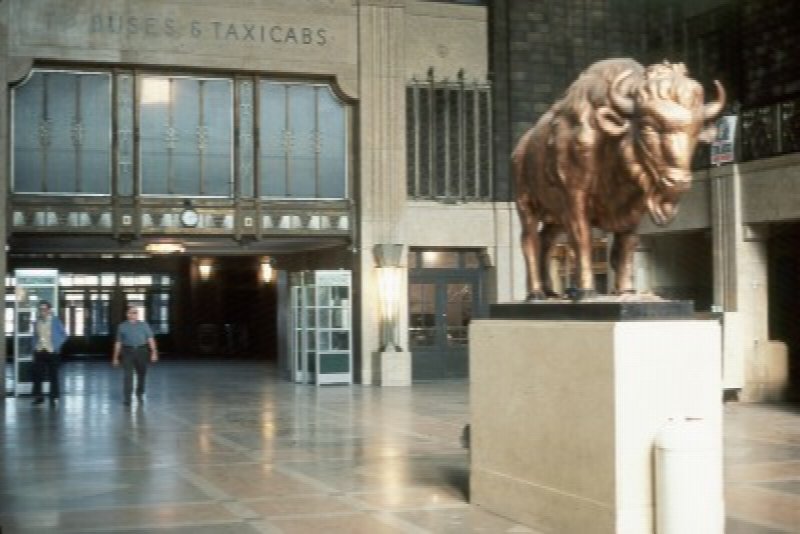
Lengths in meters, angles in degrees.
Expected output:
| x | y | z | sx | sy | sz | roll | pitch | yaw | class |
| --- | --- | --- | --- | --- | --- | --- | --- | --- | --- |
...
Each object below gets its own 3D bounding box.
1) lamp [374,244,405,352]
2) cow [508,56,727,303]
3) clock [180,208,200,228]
| x | y | z | sx | sy | sz | roll | pitch | yaw | class |
| --- | --- | --- | --- | --- | --- | --- | --- | --- | --- |
| -0.293 | 0.837 | 27.823 | 0.719 | 2.767 | 0.497 | -1 | 1 | -3 | lamp |
| 2.808 | -1.131 | 15.154 | 1.657 | 3.332 | 4.248 | 1 | -2 | -22 | cow |
| -5.377 | -1.214 | 26.971 | 0.465 | 0.514 | 0.181 | 3 | -5 | -34 | clock |
